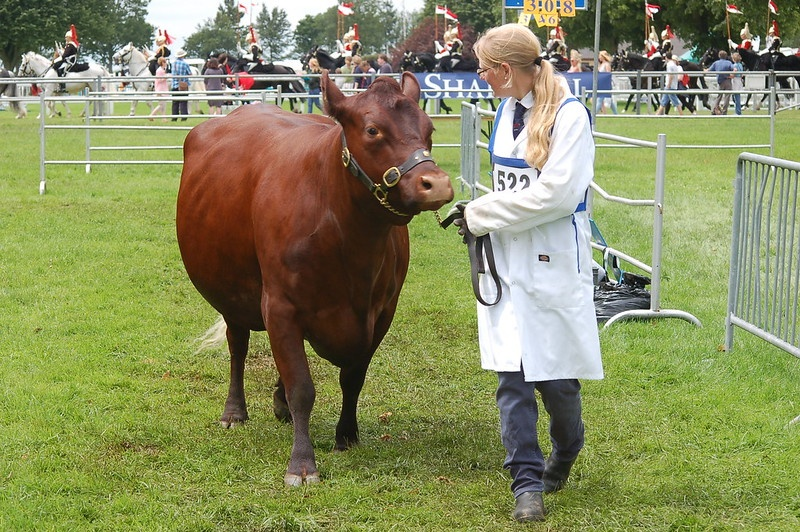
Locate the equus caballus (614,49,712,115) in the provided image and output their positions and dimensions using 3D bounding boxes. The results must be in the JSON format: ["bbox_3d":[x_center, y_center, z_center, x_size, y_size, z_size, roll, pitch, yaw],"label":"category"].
[{"bbox_3d":[8.214,-5.933,35.789,2.735,1.401,0.662,6,29,17],"label":"equus caballus"}]

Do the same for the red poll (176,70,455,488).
[{"bbox_3d":[-0.938,0.057,11.659,2.238,3.590,4.890,-3,6,-24],"label":"red poll"}]
